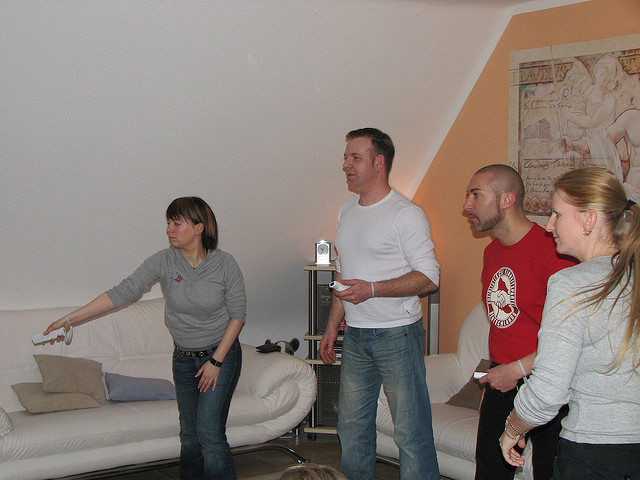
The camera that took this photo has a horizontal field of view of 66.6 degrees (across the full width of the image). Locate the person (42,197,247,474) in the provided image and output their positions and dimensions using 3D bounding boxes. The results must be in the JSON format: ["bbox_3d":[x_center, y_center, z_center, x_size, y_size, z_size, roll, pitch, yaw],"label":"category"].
[{"bbox_3d":[-0.748,0.553,2.597,0.694,1.543,0.313,-2,4,6],"label":"person"}]

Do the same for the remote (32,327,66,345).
[{"bbox_3d":[-1.267,0.453,2.278,0.140,0.036,0.074,-28,-15,-22],"label":"remote"}]

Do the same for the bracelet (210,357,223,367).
[{"bbox_3d":[-0.528,0.630,2.483,0.043,0.018,0.045,28,-6,24],"label":"bracelet"}]

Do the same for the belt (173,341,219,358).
[{"bbox_3d":[-0.651,0.589,2.581,0.290,0.059,0.071,-1,4,23],"label":"belt"}]

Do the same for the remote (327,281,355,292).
[{"bbox_3d":[0.095,0.208,2.159,0.108,0.040,0.129,-3,4,1],"label":"remote"}]

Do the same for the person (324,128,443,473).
[{"bbox_3d":[0.309,0.437,2.540,0.607,2.003,0.865,-2,4,12],"label":"person"}]

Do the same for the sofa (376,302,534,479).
[{"bbox_3d":[0.935,0.947,3.135,0.912,1.094,1.022,3,-3,44],"label":"sofa"}]

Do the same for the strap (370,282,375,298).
[{"bbox_3d":[0.230,0.222,2.146,0.016,0.061,0.027,-3,4,3],"label":"strap"}]
